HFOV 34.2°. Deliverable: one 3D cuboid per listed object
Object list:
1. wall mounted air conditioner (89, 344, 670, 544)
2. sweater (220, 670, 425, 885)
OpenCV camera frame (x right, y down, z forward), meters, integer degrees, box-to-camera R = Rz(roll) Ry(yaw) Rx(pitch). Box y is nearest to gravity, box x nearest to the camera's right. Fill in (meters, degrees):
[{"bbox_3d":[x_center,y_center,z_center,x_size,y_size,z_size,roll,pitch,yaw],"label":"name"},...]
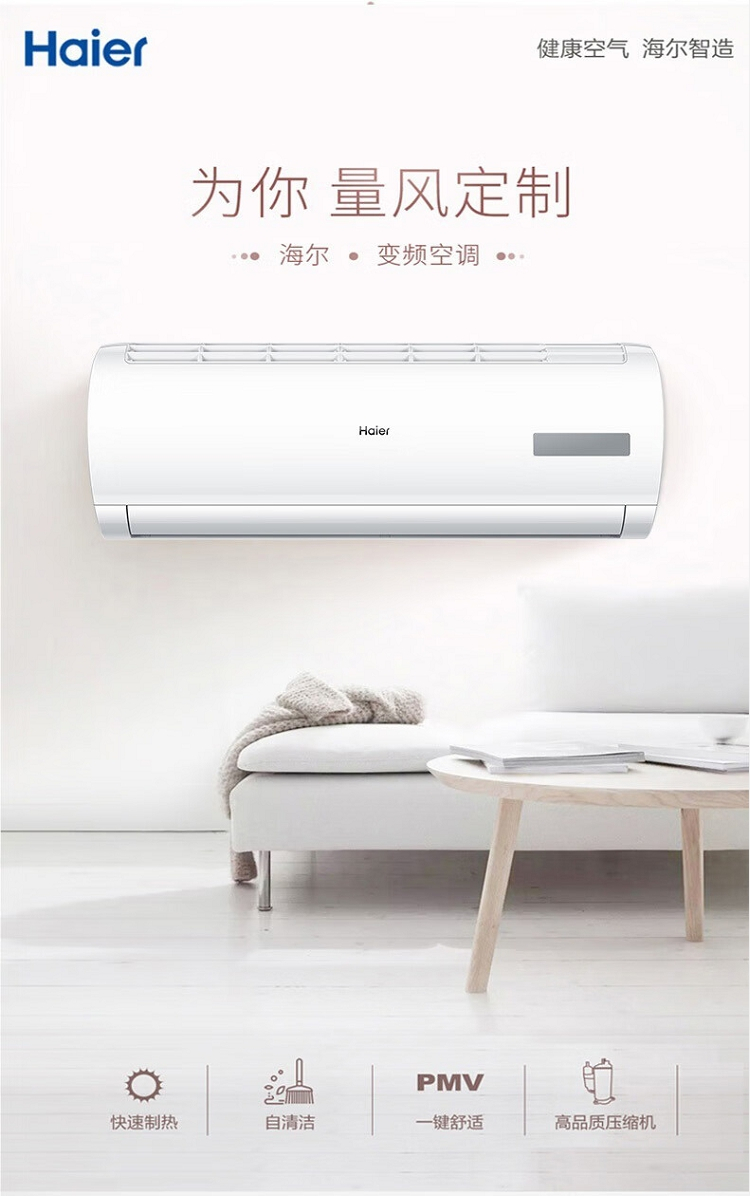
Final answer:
[{"bbox_3d":[0.006,-0.395,3.151,1.417,0.491,0.448,0,6,-2],"label":"wall mounted air conditioner"},{"bbox_3d":[-0.106,0.335,2.513,0.429,0.228,0.462,1,-1,-12],"label":"sweater"}]
